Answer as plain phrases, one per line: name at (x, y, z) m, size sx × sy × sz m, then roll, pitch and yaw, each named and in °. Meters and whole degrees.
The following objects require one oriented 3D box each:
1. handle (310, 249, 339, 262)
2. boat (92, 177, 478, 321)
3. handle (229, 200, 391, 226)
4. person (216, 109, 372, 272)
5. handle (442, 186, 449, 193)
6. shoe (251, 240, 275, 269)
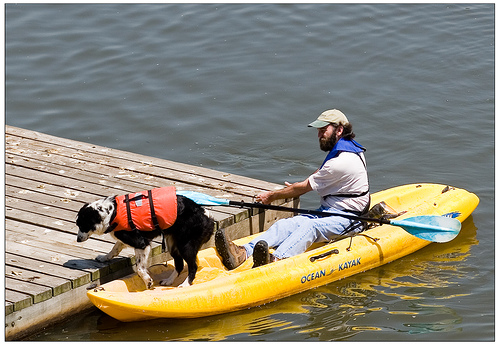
handle at (0.880, 1.008, 10.761) m, size 0.339 × 0.085 × 0.043 m, roll -17°, pitch -20°, yaw -22°
boat at (0.879, 1.262, 11.002) m, size 5.647 × 0.591 × 1.524 m, roll -12°, pitch 20°, yaw -16°
handle at (0.725, 0.507, 11.071) m, size 2.807 × 0.205 × 0.152 m, roll 5°, pitch 1°, yaw -2°
person at (0.537, 0.253, 10.946) m, size 2.235 × 1.338 × 0.942 m, roll -23°, pitch 16°, yaw -31°
handle at (2.626, 0.225, 11.998) m, size 0.058 × 0.020 × 0.099 m, roll 29°, pitch 42°, yaw 34°
shoe at (0.136, 0.955, 10.558) m, size 0.162 × 0.338 × 0.192 m, roll 17°, pitch 22°, yaw 31°
